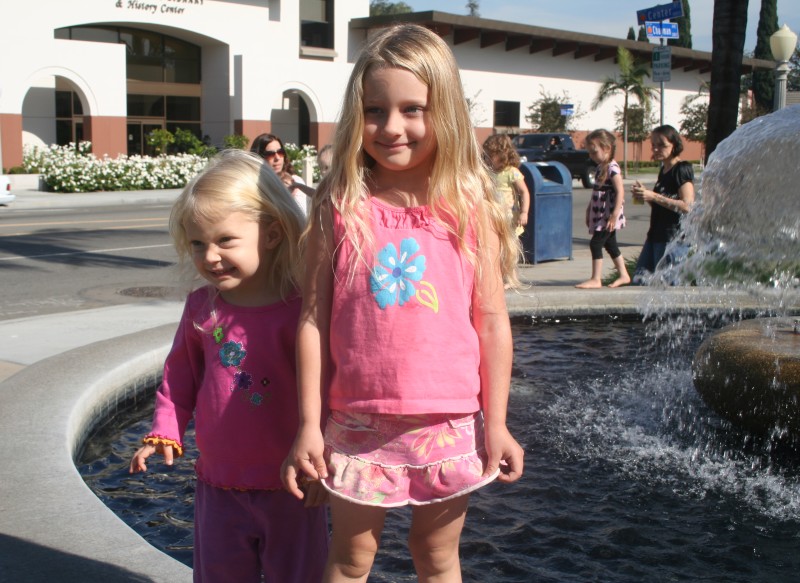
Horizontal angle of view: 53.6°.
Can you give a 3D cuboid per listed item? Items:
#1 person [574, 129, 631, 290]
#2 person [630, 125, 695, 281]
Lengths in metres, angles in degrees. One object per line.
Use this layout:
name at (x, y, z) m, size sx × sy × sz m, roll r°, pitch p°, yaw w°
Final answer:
person at (2.446, -0.949, 9.347) m, size 0.604 × 1.840 × 1.300 m, roll 4°, pitch 14°, yaw 14°
person at (2.769, -0.855, 8.397) m, size 0.579 × 1.749 × 1.180 m, roll 5°, pitch 14°, yaw 18°
